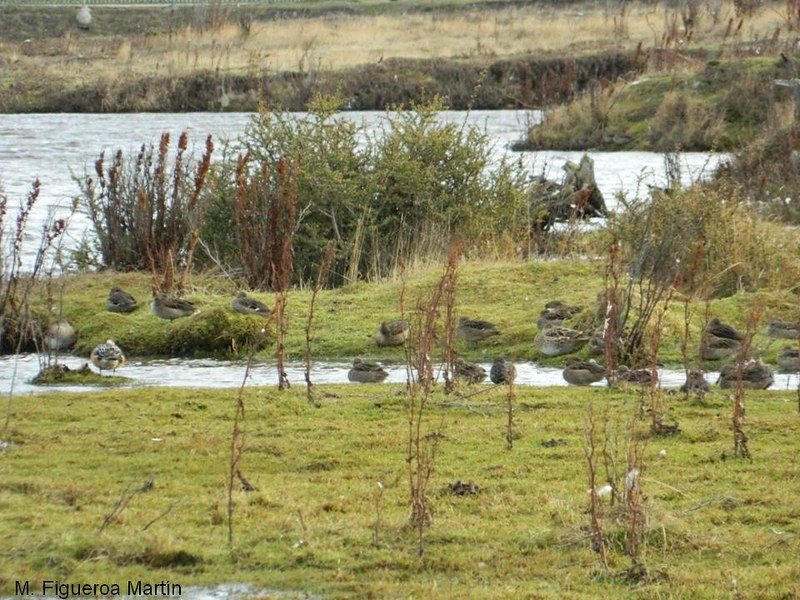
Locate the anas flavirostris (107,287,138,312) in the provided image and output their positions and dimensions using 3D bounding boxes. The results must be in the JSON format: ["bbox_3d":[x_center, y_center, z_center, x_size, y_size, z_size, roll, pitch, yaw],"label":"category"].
[{"bbox_3d":[-7.592,0.031,45.007,0.848,0.687,0.433,-4,7,-12],"label":"anas flavirostris"}]
